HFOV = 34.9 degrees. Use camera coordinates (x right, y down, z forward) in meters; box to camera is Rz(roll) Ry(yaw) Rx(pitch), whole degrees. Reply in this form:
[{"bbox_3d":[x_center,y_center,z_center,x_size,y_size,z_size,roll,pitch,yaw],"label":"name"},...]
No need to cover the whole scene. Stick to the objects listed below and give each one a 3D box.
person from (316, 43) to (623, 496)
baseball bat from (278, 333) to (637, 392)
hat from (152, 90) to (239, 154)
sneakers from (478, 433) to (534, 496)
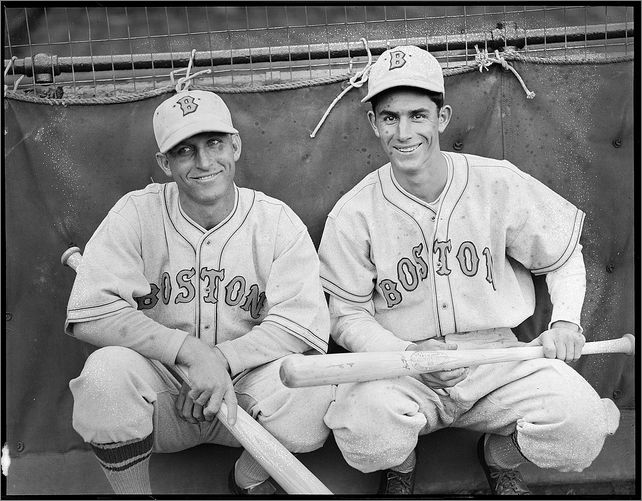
[{"bbox_3d":[0.611,0.131,4.030,1.240,1.947,0.950,-8,16,-5],"label":"person"},{"bbox_3d":[0.453,0.416,3.834,1.463,0.159,0.202,1,45,-8],"label":"baseball bat"},{"bbox_3d":[-0.504,-0.507,3.905,0.216,0.174,0.285,-19,13,-9],"label":"hat"},{"bbox_3d":[0.690,0.863,3.867,0.101,0.331,0.114,-21,-19,12],"label":"sneakers"}]
